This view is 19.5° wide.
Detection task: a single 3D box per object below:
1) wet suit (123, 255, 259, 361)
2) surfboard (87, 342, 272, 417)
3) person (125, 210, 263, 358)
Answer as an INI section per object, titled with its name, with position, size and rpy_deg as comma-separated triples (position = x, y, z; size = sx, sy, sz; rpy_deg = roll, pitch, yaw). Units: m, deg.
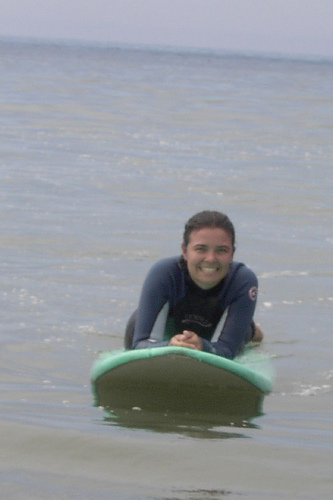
[wet suit]
position = 0.175, 0.357, 5.665
size = 0.814, 0.525, 1.096
rpy_deg = 2, -3, 12
[surfboard]
position = 0.107, 0.638, 5.596
size = 0.973, 0.276, 1.772
rpy_deg = 4, -2, 5
[person]
position = 0.129, 0.183, 5.225
size = 0.556, 0.778, 0.681
rpy_deg = 10, 15, 24
